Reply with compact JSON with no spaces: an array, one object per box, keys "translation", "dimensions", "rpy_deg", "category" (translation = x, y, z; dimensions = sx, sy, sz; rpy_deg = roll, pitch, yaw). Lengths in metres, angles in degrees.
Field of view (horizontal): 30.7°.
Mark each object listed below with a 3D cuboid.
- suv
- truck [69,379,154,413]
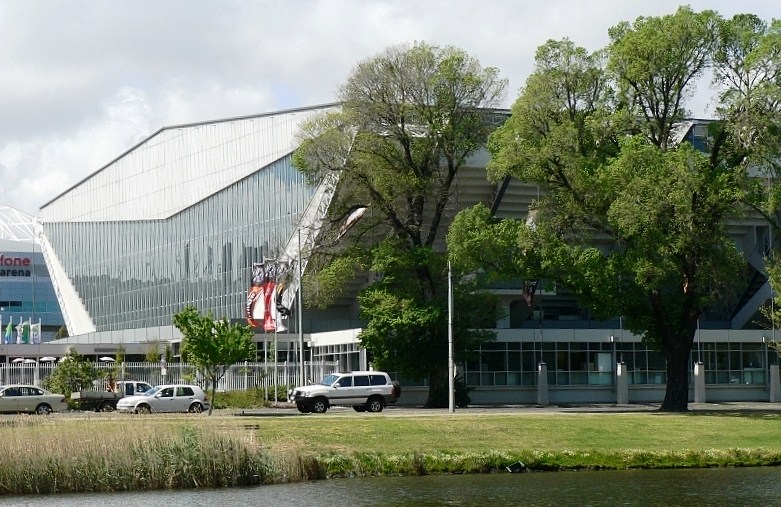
[{"translation":[-2.943,8.848,89.517],"dimensions":[6.680,2.480,2.815],"rpy_deg":[1,-3,-25],"category":"suv"},{"translation":[-18.024,9.504,92.905],"dimensions":[5.062,1.762,2.380],"rpy_deg":[2,-7,-29],"category":"truck"}]
